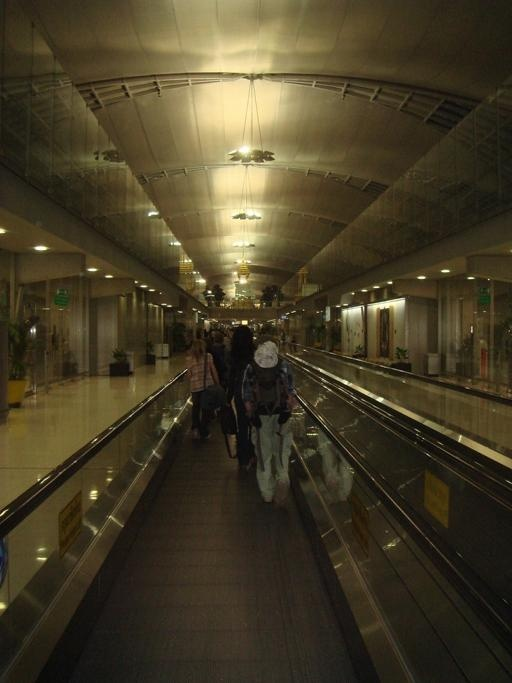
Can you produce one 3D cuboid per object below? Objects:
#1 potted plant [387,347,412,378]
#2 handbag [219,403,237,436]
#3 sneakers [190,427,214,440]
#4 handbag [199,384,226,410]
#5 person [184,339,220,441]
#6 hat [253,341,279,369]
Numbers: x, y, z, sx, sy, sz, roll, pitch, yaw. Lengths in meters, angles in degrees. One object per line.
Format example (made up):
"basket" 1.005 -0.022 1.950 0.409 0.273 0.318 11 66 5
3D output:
"potted plant" 5.419 0.705 17.681 0.773 0.931 1.336 2 0 21
"handbag" -0.285 0.836 4.970 0.174 0.331 0.405 2 0 -2
"sneakers" -0.797 1.361 6.951 0.123 0.155 0.350 -1 -2 9
"handbag" -0.539 0.671 5.864 0.216 0.293 0.301 5 13 7
"person" -0.732 0.707 6.372 0.388 1.353 1.409 1 0 -8
"hat" 0.097 0.123 4.152 0.225 0.237 0.164 2 0 -7
